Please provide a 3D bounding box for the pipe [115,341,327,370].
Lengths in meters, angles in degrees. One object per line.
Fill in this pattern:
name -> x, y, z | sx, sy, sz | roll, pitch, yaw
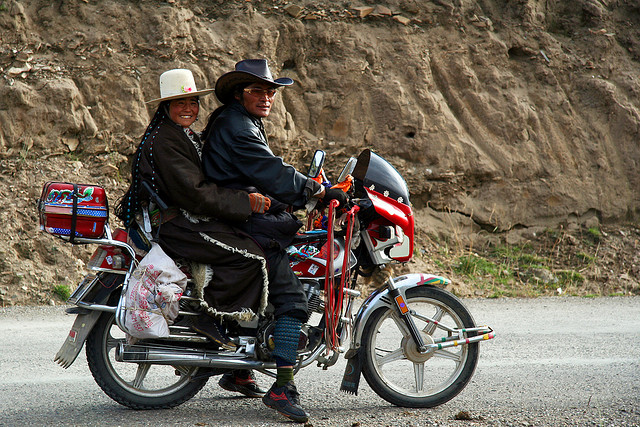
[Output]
pipe -> -1.624, 2.352, 19.410 | 3.422, 0.572, 0.906 | 0, -3, 3

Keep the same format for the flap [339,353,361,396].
flap -> 0.564, 2.735, 19.663 | 0.263, 0.597, 0.172 | 9, 1, -6

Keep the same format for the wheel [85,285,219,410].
wheel -> -2.760, 2.194, 19.323 | 1.797, 1.852, 0.329 | 9, -2, -5
